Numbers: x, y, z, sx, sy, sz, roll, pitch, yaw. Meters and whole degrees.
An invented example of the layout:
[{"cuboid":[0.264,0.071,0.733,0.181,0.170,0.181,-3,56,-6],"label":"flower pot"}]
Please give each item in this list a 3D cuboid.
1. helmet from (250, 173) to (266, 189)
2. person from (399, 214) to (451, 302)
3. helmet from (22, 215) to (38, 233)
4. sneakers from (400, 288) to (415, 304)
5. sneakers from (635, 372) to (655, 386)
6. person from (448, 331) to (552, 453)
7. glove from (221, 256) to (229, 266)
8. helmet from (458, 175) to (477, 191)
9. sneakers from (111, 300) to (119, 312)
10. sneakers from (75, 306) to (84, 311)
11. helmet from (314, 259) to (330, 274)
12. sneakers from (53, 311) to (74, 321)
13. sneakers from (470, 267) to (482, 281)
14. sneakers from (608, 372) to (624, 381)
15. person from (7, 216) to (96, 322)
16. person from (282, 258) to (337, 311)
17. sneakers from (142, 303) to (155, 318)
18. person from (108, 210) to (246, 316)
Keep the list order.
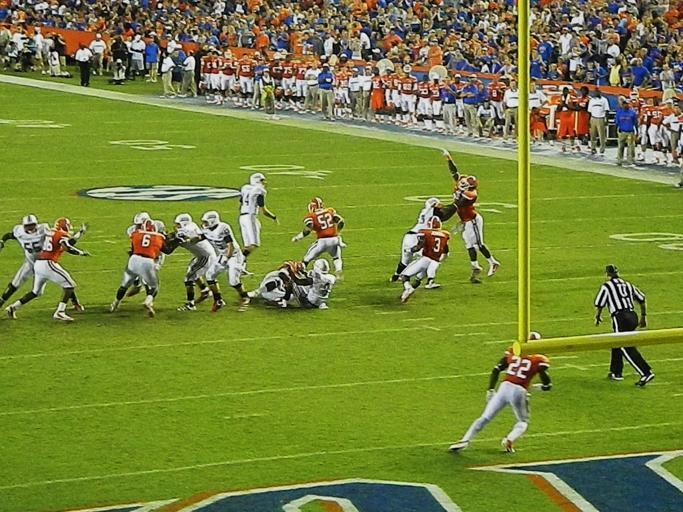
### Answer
[{"cuboid":[-1.330,-1.167,14.460,0.350,0.216,0.241,-8,21,-20],"label":"helmet"},{"cuboid":[1.179,0.051,13.141,0.676,1.188,0.358,1,8,-8],"label":"person"},{"cuboid":[-4.042,-0.422,12.274,0.248,0.195,0.260,-3,7,-14],"label":"helmet"},{"cuboid":[0.919,0.565,13.119,0.154,0.096,0.287,15,-18,-2],"label":"sneakers"},{"cuboid":[3.339,1.336,10.308,0.185,0.163,0.256,4,7,16],"label":"sneakers"},{"cuboid":[1.476,1.228,8.389,0.829,1.153,0.607,-1,8,-18],"label":"person"},{"cuboid":[-1.579,0.064,12.679,0.089,0.092,0.101,9,3,8],"label":"glove"},{"cuboid":[1.958,-1.110,14.347,0.244,0.218,0.464,6,8,29],"label":"helmet"},{"cuboid":[-3.058,0.670,12.652,0.091,0.095,0.236,15,7,-15],"label":"sneakers"},{"cuboid":[-3.574,0.706,12.719,0.064,0.056,0.162,-16,17,-35],"label":"sneakers"},{"cuboid":[-0.292,0.140,13.030,0.186,0.158,0.221,0,25,-35],"label":"helmet"},{"cuboid":[-3.682,0.788,12.367,0.269,0.080,0.122,3,10,14],"label":"sneakers"},{"cuboid":[2.082,0.284,14.520,0.168,0.193,0.117,8,-8,13],"label":"sneakers"},{"cuboid":[3.051,1.341,10.442,0.106,0.071,0.201,2,6,14],"label":"sneakers"},{"cuboid":[-3.871,0.167,12.429,0.958,1.330,0.755,0,8,-14],"label":"person"},{"cuboid":[-0.445,0.399,13.011,0.654,0.654,0.457,2,7,0],"label":"person"},{"cuboid":[-2.566,0.718,12.498,0.109,0.234,0.121,-1,34,12],"label":"sneakers"},{"cuboid":[-2.314,0.101,12.705,1.467,1.309,0.784,-2,8,-24],"label":"person"}]
